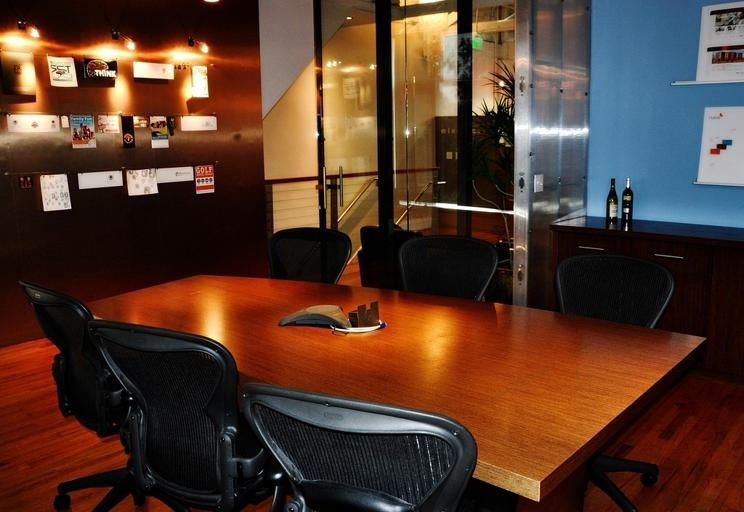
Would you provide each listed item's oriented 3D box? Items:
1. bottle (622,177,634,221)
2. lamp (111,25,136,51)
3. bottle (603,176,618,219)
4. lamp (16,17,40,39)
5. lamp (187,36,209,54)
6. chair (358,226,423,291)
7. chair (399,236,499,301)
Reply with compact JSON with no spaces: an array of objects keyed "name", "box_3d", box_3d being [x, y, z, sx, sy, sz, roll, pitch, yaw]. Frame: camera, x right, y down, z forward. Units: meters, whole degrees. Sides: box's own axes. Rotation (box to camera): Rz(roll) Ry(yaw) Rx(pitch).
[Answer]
[{"name":"bottle","box_3d":[2.267,-0.497,4.457,0.105,0.372,0.320,4,14,26]},{"name":"lamp","box_3d":[-2.493,-2.177,5.051,0.205,0.099,0.122,27,2,-29]},{"name":"bottle","box_3d":[2.149,-0.504,4.501,0.108,0.367,0.381,4,13,24]},{"name":"lamp","box_3d":[-3.086,-2.046,4.522,0.179,0.162,0.098,-14,17,-43]},{"name":"lamp","box_3d":[-1.932,-2.334,5.580,0.241,0.175,0.050,-12,16,-40]},{"name":"chair","box_3d":[0.270,-0.073,5.557,0.519,0.914,0.673,-12,-10,28]},{"name":"chair","box_3d":[0.503,0.055,3.245,0.461,0.576,0.462,4,12,21]}]
